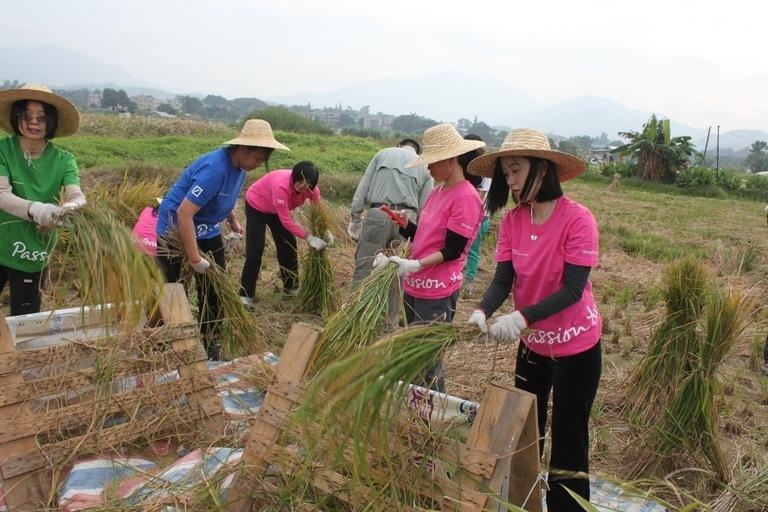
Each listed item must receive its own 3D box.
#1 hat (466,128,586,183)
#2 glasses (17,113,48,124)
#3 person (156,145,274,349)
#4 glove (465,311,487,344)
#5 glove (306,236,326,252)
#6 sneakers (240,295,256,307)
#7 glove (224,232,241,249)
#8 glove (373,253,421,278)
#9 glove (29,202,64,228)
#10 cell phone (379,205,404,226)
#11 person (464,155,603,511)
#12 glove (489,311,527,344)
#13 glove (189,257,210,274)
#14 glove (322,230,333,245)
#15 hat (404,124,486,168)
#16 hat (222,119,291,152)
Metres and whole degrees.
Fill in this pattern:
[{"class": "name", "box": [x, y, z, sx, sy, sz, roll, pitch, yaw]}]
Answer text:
[{"class": "hat", "box": [1.048, -0.660, 3.548, 0.530, 0.161, 0.498, 17, -21, -33]}, {"class": "glasses", "box": [-2.788, -1.080, 4.167, 0.201, 0.074, 0.054, 3, 13, -17]}, {"class": "person", "box": [-1.678, -0.024, 5.064, 0.928, 2.091, 0.791, 0, 13, -26]}, {"class": "glove", "box": [0.590, 0.447, 3.377, 0.061, 0.184, 0.135, -4, -21, 11]}, {"class": "glove", "box": [-0.798, -0.158, 6.183, 0.151, 0.080, 0.198, 22, 0, -42]}, {"class": "sneakers", "box": [-1.634, 0.533, 6.314, 0.184, 0.196, 0.190, 0, 3, 6]}, {"class": "glove", "box": [-2.091, -0.220, 7.223, 0.163, 0.180, 0.166, 30, 9, -19]}, {"class": "glove", "box": [0.103, 0.085, 4.087, 0.357, 0.198, 0.318, 7, 13, 0]}, {"class": "glove", "box": [-2.481, -0.296, 3.877, 0.517, 0.175, 0.129, 18, 17, 41]}, {"class": "cell phone", "box": [0.057, -0.311, 4.460, 0.242, 0.064, 0.136, 28, 20, -40]}, {"class": "person", "box": [1.058, 0.531, 3.533, 0.949, 2.283, 0.699, 11, 13, 24]}, {"class": "glove", "box": [0.786, 0.445, 3.360, 0.228, 0.106, 0.173, -39, 25, -13]}, {"class": "glove", "box": [-1.698, 0.092, 4.898, 0.156, 0.132, 0.124, 17, 0, 31]}, {"class": "glove", "box": [-0.664, -0.221, 6.434, 0.137, 0.159, 0.165, -7, 15, -13]}, {"class": "hat", "box": [0.512, -0.793, 4.098, 0.412, 0.166, 0.408, -30, 11, -33]}, {"class": "hat", "box": [-1.164, -1.118, 4.931, 0.403, 0.178, 0.411, 13, 0, -15]}]
